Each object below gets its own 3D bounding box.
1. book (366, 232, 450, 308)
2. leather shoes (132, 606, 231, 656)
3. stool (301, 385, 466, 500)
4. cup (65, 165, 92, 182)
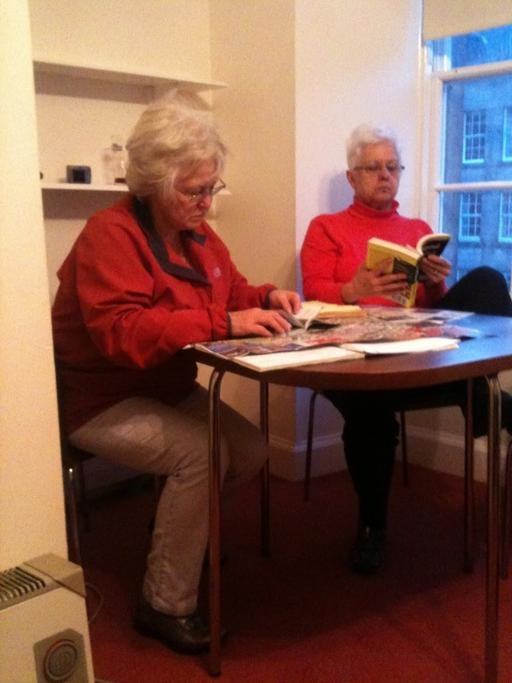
[{"bbox_3d":[0.398,-0.217,1.586,0.220,0.078,0.223,14,-21,8],"label":"book"},{"bbox_3d":[-0.164,0.605,1.261,0.178,0.068,0.079,14,-8,18],"label":"leather shoes"},{"bbox_3d":[0.411,0.342,1.898,0.341,0.353,0.499,-1,1,-13],"label":"stool"},{"bbox_3d":[-0.567,-0.534,1.839,0.086,0.070,0.061,-6,10,-37],"label":"cup"}]
